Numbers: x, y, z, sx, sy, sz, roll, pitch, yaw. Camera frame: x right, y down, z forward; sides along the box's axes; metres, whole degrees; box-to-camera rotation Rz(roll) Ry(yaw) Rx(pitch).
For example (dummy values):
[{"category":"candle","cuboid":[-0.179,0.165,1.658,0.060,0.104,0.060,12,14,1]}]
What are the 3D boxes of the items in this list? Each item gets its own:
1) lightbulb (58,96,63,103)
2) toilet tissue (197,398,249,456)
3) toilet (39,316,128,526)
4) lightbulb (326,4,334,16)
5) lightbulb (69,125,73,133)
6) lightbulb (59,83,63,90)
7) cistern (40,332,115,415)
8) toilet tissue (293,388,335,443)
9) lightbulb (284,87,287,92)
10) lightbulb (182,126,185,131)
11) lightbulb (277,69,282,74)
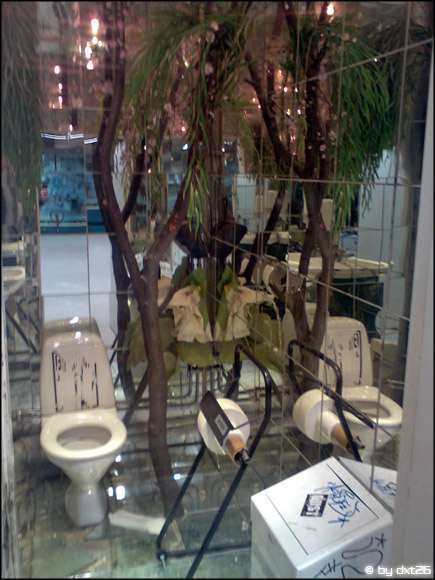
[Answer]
[{"category":"lightbulb","cuboid":[-0.490,-0.592,1.338,0.013,0.017,0.010,-5,8,-7]},{"category":"toilet tissue","cuboid":[0.021,0.450,1.502,0.139,0.217,0.156,-18,25,-17]},{"category":"toilet","cuboid":[-0.507,0.551,1.615,0.180,0.711,0.428,-5,23,-23]},{"category":"lightbulb","cuboid":[0.232,-0.575,0.880,0.014,0.034,0.008,2,0,30]},{"category":"lightbulb","cuboid":[-0.472,-0.517,1.380,0.013,0.020,0.006,-2,7,12]},{"category":"lightbulb","cuboid":[-0.483,-0.626,1.322,0.011,0.015,0.006,-2,7,10]},{"category":"cistern","cuboid":[-0.536,0.247,1.621,0.208,0.333,0.248,-3,6,-30]},{"category":"toilet tissue","cuboid":[0.262,0.342,1.197,0.084,0.131,0.126,8,-6,-8]},{"category":"lightbulb","cuboid":[0.175,-0.513,1.102,0.003,0.010,0.009,4,31,-14]},{"category":"lightbulb","cuboid":[-0.109,-0.517,1.384,0.008,0.012,0.006,-4,7,-4]},{"category":"lightbulb","cuboid":[0.161,-0.565,1.113,0.003,0.010,0.009,7,-40,-29]}]
